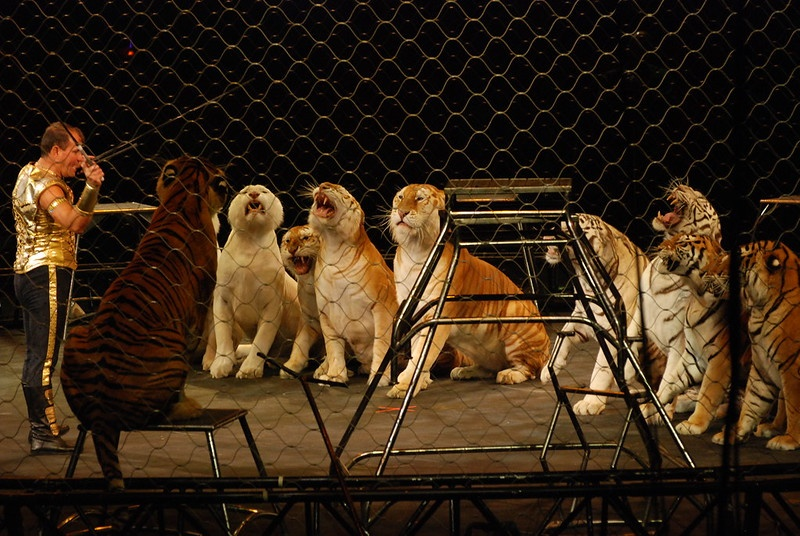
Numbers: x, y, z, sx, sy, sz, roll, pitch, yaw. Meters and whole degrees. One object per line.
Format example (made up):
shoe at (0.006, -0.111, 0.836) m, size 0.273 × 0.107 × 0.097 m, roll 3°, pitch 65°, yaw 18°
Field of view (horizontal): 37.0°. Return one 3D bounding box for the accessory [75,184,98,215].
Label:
accessory at (-1.738, -0.397, 6.623) m, size 0.080 × 0.125 × 0.231 m, roll 39°, pitch -38°, yaw 4°

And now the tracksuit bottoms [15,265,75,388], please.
tracksuit bottoms at (-2.146, 0.401, 7.165) m, size 0.363 × 0.881 × 0.465 m, roll -1°, pitch 5°, yaw -25°

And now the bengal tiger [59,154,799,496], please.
bengal tiger at (0.245, 0.272, 7.427) m, size 4.073 × 1.603 × 2.716 m, roll 2°, pitch 0°, yaw -4°

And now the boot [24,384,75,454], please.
boot at (-2.105, 0.893, 7.097) m, size 0.193 × 0.409 × 0.343 m, roll -12°, pitch -12°, yaw 38°

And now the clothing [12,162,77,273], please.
clothing at (-2.072, -0.279, 6.930) m, size 0.406 × 0.596 × 0.627 m, roll -1°, pitch 8°, yaw -25°

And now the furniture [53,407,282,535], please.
furniture at (-1.137, 1.176, 6.178) m, size 1.050 × 0.638 × 0.673 m, roll -4°, pitch -22°, yaw 8°

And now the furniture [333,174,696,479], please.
furniture at (0.647, 0.316, 8.549) m, size 2.971 × 1.337 × 2.835 m, roll 19°, pitch 7°, yaw 28°
